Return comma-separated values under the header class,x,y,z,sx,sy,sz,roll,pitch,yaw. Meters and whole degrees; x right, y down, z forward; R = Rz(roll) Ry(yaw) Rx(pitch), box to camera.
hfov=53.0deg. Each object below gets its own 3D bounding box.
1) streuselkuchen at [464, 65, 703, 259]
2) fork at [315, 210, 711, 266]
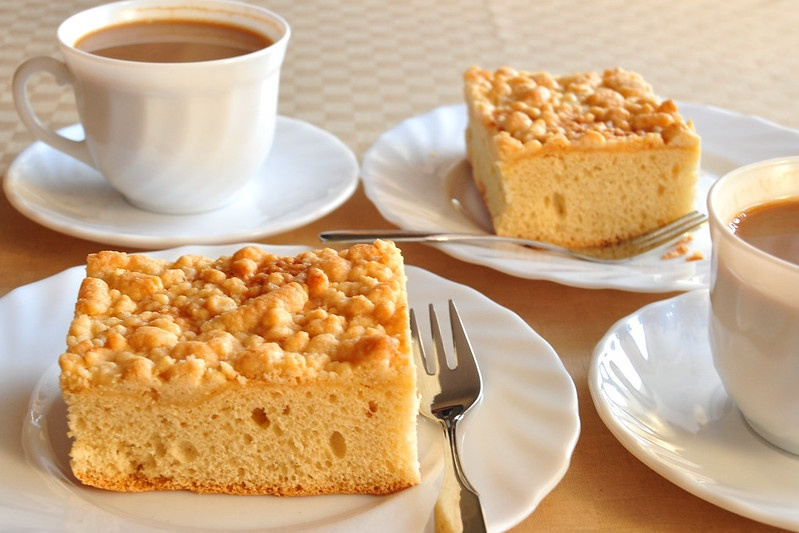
class,x,y,z,sx,sy,sz,roll,pitch,yaw
streuselkuchen,0.465,-0.312,2.115,0.511,0.321,0.518,-2,35,-9
fork,0.256,-0.070,1.909,0.908,0.105,0.103,0,44,2
